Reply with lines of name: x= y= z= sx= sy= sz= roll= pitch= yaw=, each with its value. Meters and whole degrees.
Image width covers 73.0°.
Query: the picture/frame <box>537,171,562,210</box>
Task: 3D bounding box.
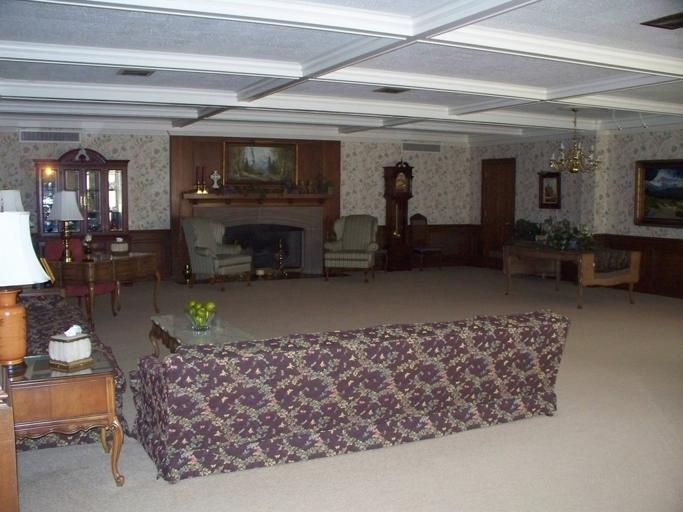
picture/frame: x=5.140 y=-1.616 z=11.384 sx=0.135 sy=0.904 sz=0.580 roll=-4 pitch=9 yaw=-29

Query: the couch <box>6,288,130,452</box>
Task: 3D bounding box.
couch: x=-2.734 y=1.121 z=4.653 sx=1.267 sy=0.625 sz=2.099 roll=-2 pitch=10 yaw=-33

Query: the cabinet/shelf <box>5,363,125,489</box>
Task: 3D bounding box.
cabinet/shelf: x=-1.684 y=0.925 z=2.980 sx=0.771 sy=0.645 sz=0.582 roll=-2 pitch=4 yaw=-30

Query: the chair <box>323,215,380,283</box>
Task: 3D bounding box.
chair: x=0.288 y=-0.259 z=11.442 sx=1.326 sy=1.536 sz=1.363 roll=4 pitch=8 yaw=26

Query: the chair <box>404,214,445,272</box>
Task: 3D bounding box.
chair: x=2.292 y=-0.417 z=12.738 sx=0.907 sy=1.500 sz=0.675 roll=-1 pitch=8 yaw=-8

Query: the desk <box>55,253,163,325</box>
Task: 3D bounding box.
desk: x=-3.818 y=0.279 z=7.273 sx=1.085 sy=1.134 sz=1.697 roll=3 pitch=8 yaw=24

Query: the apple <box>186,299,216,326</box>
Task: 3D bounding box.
apple: x=-1.504 y=0.576 z=4.936 sx=0.297 sy=0.256 sz=0.295 roll=4 pitch=5 yaw=30

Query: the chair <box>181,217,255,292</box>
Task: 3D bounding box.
chair: x=-2.905 y=-0.106 z=10.432 sx=1.650 sy=1.712 sz=1.564 roll=4 pitch=6 yaw=30

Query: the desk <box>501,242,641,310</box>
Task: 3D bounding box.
desk: x=4.645 y=0.178 z=9.177 sx=1.667 sy=0.965 sz=2.089 roll=0 pitch=2 yaw=-9

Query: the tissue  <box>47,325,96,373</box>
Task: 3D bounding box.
tissue : x=-1.777 y=0.598 z=3.108 sx=0.293 sy=0.321 sz=0.288 roll=2 pitch=3 yaw=21
